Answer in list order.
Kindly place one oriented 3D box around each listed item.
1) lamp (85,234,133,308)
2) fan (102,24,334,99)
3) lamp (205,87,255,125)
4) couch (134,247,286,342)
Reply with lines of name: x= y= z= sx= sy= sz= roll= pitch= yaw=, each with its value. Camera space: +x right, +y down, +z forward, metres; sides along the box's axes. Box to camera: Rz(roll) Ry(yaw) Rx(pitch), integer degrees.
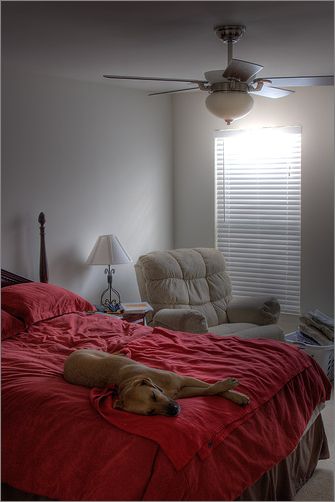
lamp: x=-0.557 y=0.219 z=3.880 sx=0.506 sy=0.711 sz=0.512 roll=-2 pitch=3 yaw=14
fan: x=0.353 y=-1.316 z=2.778 sx=0.777 sy=0.209 sz=0.729 roll=4 pitch=6 yaw=44
lamp: x=0.361 y=-0.830 z=2.387 sx=0.291 sy=0.190 sz=0.304 roll=15 pitch=21 yaw=43
couch: x=0.398 y=0.552 z=3.639 sx=0.858 sy=1.079 sz=1.193 roll=2 pitch=2 yaw=42
